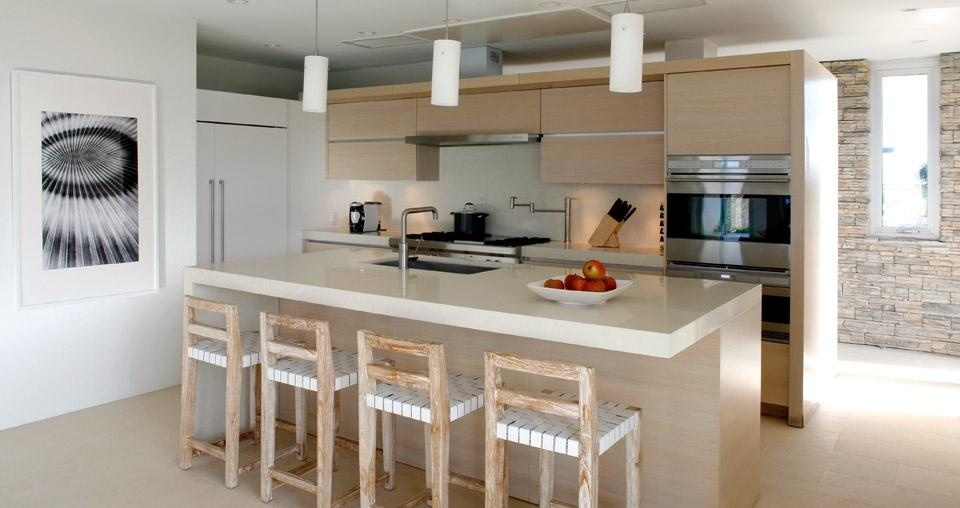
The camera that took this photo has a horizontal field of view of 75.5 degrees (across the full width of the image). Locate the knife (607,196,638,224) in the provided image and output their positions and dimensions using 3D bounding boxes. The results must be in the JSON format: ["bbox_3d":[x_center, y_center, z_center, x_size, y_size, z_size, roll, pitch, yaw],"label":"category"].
[{"bbox_3d":[1.756,-0.544,7.583,0.347,0.314,0.079,33,8,-10],"label":"knife"}]

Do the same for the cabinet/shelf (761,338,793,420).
[{"bbox_3d":[3.159,1.338,6.611,0.354,0.810,0.150,8,18,21],"label":"cabinet/shelf"}]

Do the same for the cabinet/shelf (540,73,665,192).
[{"bbox_3d":[1.453,-1.469,7.208,1.701,1.045,0.523,2,4,25],"label":"cabinet/shelf"}]

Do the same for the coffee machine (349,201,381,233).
[{"bbox_3d":[-1.607,-0.518,8.833,0.399,0.400,0.531,0,-2,35],"label":"coffee machine"}]

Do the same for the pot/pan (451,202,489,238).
[{"bbox_3d":[-0.095,-0.445,8.336,0.600,0.405,0.343,2,6,27],"label":"pot/pan"}]

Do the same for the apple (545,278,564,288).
[{"bbox_3d":[0.629,0.236,5.129,0.095,0.079,0.097,1,3,-42],"label":"apple"}]

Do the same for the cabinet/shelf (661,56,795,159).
[{"bbox_3d":[2.785,-1.411,7.009,1.865,1.058,0.919,1,3,27],"label":"cabinet/shelf"}]

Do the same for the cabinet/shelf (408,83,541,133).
[{"bbox_3d":[0.035,-1.789,7.553,1.147,0.215,0.985,2,4,32],"label":"cabinet/shelf"}]

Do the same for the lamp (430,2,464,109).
[{"bbox_3d":[-0.284,-1.588,5.407,0.227,0.542,0.213,0,16,-7],"label":"lamp"}]

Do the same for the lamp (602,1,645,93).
[{"bbox_3d":[1.194,-1.628,4.994,0.277,0.601,0.184,4,16,8],"label":"lamp"}]
